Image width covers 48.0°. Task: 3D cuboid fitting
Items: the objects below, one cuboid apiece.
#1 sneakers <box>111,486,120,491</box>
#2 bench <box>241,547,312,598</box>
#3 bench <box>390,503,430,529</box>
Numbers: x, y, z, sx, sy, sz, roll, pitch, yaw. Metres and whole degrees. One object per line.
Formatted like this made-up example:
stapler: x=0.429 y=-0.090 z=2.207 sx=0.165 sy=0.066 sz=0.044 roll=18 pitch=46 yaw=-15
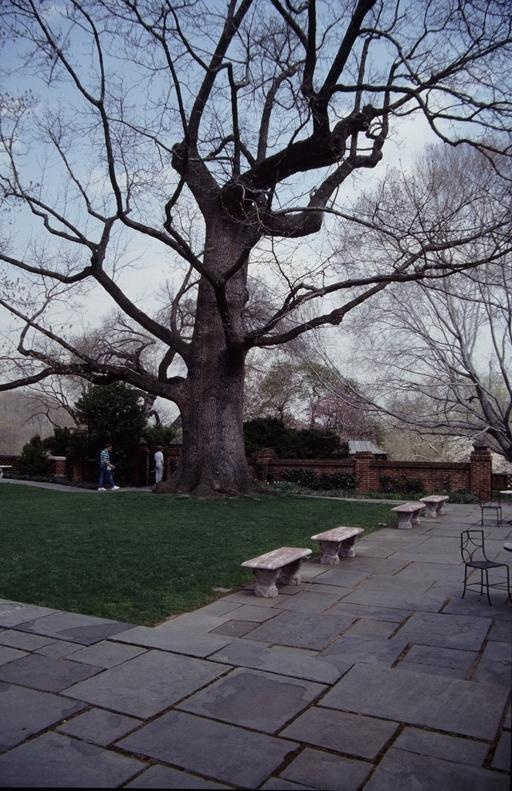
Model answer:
sneakers: x=-5.185 y=3.405 z=21.316 sx=0.224 sy=0.219 sz=0.511 roll=0 pitch=-4 yaw=-23
bench: x=0.296 y=2.178 z=7.127 sx=0.605 sy=0.501 sz=1.312 roll=-2 pitch=-3 yaw=13
bench: x=3.478 y=2.737 z=13.161 sx=0.512 sy=0.529 sz=1.632 roll=-3 pitch=-3 yaw=20
